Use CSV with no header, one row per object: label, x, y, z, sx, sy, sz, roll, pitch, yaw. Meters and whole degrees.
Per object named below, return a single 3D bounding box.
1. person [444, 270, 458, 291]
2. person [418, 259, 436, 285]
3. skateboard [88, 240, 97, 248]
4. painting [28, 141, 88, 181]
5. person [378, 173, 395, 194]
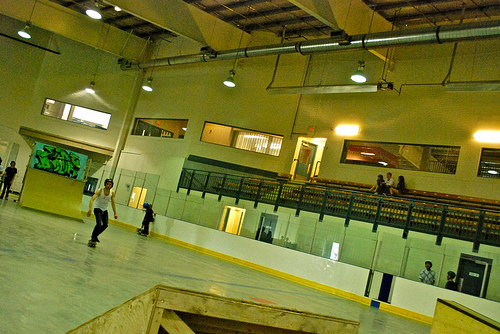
person,8.349,4.674,14.698,0.441,0.763,0.234,8,-7,32
person,7.600,4.498,15.189,0.395,1.347,0.813,36,-31,-28
skateboard,-4.999,2.423,11.221,0.246,0.214,0.401,14,-6,-21
painting,-10.080,-0.285,18.387,2.845,1.626,0.123,13,-13,-25
person,7.289,0.900,18.966,0.479,1.205,0.805,6,-9,45
